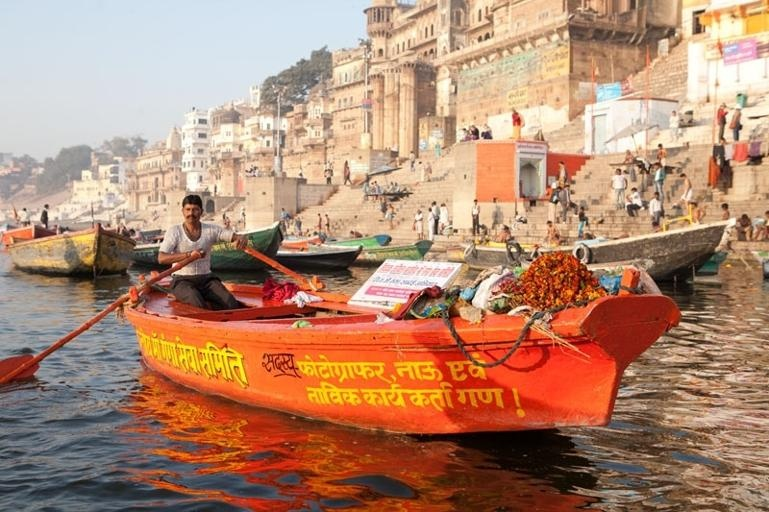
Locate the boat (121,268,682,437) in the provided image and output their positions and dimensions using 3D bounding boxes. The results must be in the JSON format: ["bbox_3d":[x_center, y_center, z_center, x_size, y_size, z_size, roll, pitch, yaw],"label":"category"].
[{"bbox_3d":[0.555,1.536,16.769,11.028,2.043,3.210,-1,-4,26],"label":"boat"}]

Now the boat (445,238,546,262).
[{"bbox_3d":[2.968,-0.062,28.295,2.918,0.361,0.884,-1,3,30],"label":"boat"}]

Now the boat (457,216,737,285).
[{"bbox_3d":[4.962,-0.007,27.165,9.089,1.193,2.160,-1,-3,42],"label":"boat"}]
